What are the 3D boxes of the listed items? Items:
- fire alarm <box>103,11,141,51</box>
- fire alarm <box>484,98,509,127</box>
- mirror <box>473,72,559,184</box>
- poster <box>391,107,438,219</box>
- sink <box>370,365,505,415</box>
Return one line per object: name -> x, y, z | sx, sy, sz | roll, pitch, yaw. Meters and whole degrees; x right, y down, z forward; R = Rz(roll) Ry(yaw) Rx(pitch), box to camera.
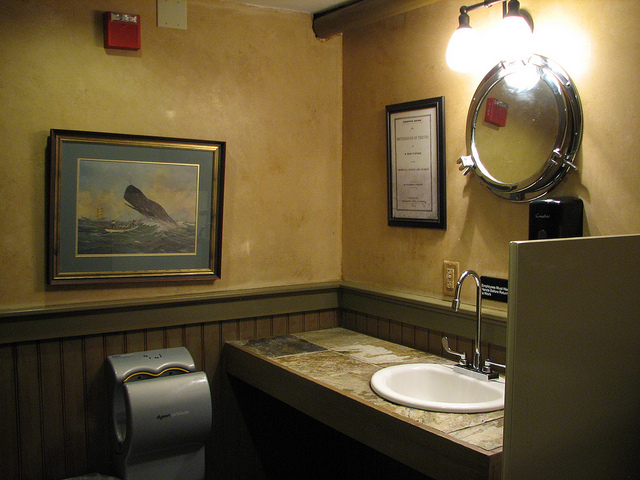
fire alarm -> -1.025, -1.077, 2.555 | 0.172, 0.167, 0.069 | -4, 6, -24
fire alarm -> 0.839, -0.606, 2.342 | 0.051, 0.148, 0.139 | 0, 6, -29
mirror -> 0.912, -0.516, 2.265 | 0.084, 0.591, 0.506 | 3, 4, -32
poster -> 0.536, -0.441, 2.753 | 0.031, 0.651, 0.420 | 0, 0, -32
sink -> 0.522, 0.694, 2.195 | 0.547, 0.177, 0.467 | 0, 5, 22
